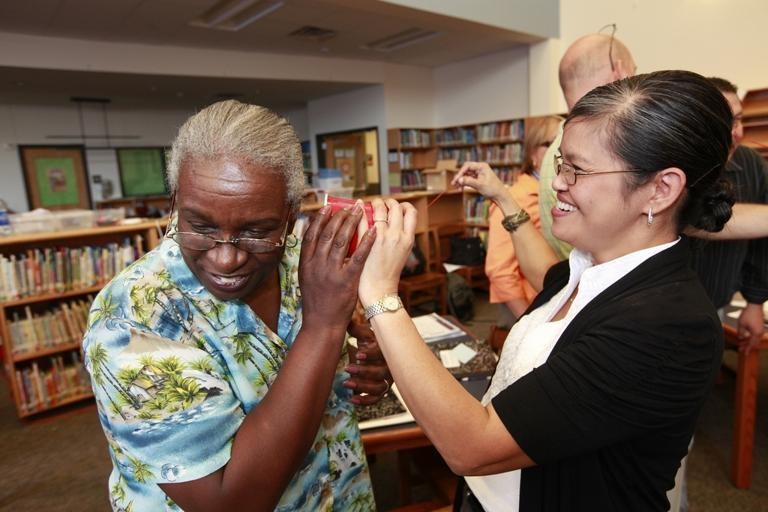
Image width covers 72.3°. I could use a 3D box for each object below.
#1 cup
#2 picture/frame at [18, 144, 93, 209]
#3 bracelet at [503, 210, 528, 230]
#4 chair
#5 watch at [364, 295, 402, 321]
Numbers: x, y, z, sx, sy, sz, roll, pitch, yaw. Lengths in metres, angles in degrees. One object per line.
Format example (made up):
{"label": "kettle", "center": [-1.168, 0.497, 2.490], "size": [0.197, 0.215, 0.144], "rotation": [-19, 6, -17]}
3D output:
{"label": "cup", "center": [-0.091, -0.133, 1.786], "size": [0.294, 0.215, 0.194], "rotation": [0, 8, -1]}
{"label": "picture/frame", "center": [-1.728, -0.427, 2.737], "size": [0.022, 0.320, 0.296], "rotation": [22, 33, 35]}
{"label": "bracelet", "center": [0.581, -0.159, 2.325], "size": [0.088, 0.059, 0.097], "rotation": [-26, 8, 16]}
{"label": "chair", "center": [0.387, 0.240, 5.734], "size": [0.479, 0.855, 0.522], "rotation": [-5, 13, -15]}
{"label": "watch", "center": [0.000, 0.165, 1.753], "size": [0.098, 0.086, 0.093], "rotation": [-28, -3, 20]}
